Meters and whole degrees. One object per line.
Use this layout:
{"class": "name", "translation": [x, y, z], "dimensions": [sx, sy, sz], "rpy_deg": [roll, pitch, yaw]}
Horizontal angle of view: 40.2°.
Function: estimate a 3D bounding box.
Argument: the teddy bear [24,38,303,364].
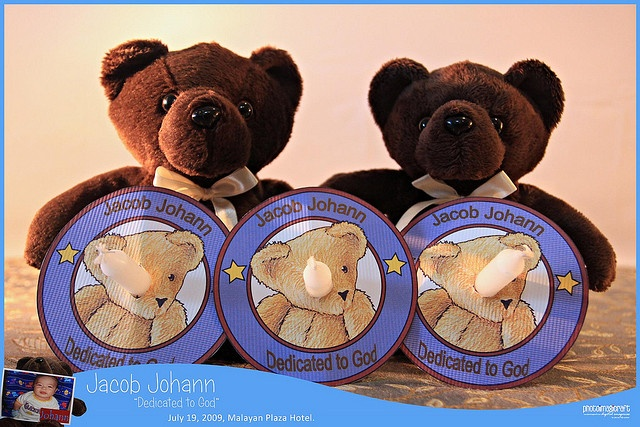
{"class": "teddy bear", "translation": [-0.350, -0.063, 2.542], "dimensions": [1.004, 0.841, 0.524], "rpy_deg": [3, 8, -11]}
